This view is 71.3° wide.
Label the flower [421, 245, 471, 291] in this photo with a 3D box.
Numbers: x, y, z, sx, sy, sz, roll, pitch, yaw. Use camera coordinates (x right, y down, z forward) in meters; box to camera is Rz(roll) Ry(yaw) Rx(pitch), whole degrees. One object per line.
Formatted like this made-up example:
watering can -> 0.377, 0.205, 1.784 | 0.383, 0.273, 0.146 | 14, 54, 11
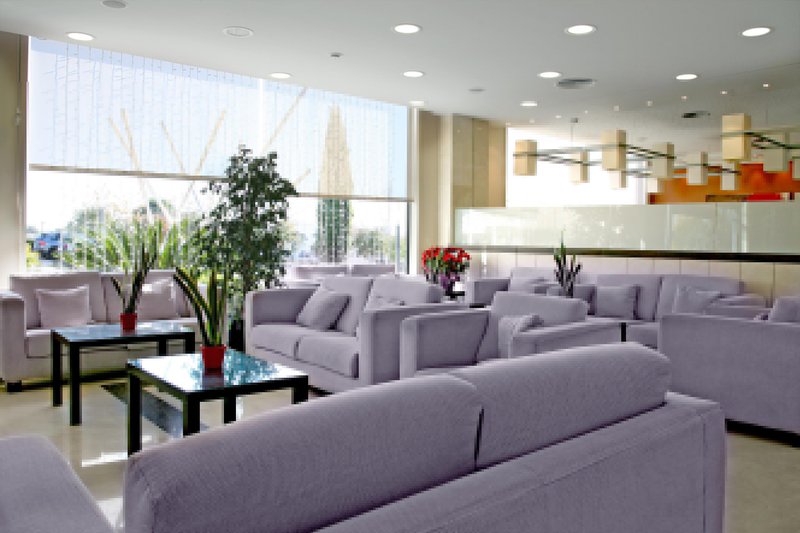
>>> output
flower -> 0.549, 0.015, 6.962 | 0.537, 0.575, 0.552 | 1, 0, 28
